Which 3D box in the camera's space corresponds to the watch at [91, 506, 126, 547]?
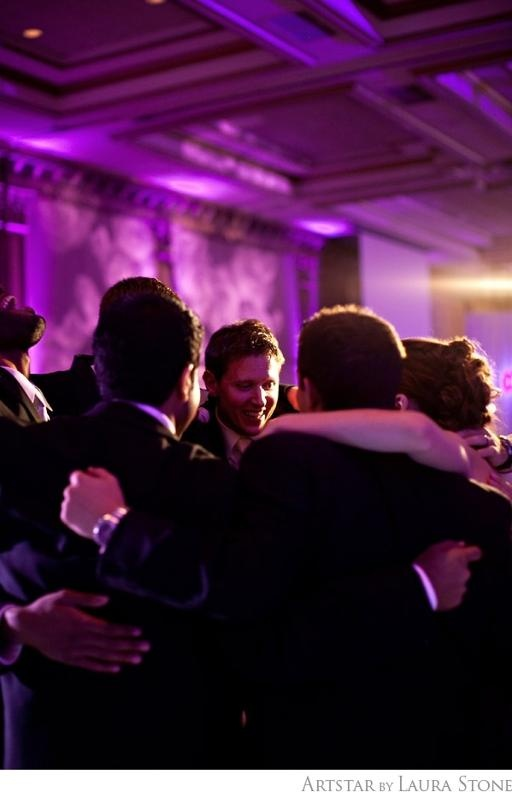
[{"bbox_3d":[-0.305,0.266,1.452,0.038,0.084,0.063,28,20,14],"label":"watch"}]
